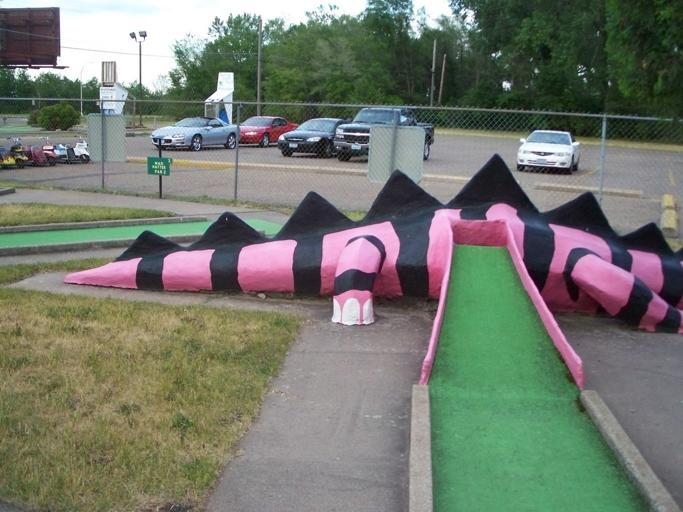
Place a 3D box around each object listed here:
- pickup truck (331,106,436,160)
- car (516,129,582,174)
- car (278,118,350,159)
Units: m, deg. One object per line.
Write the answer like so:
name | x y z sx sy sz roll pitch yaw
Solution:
pickup truck | 0.784 -4.220 22.352 2.400 2.102 4.405 5 12 27
car | 6.176 -3.186 20.080 1.470 1.353 2.713 7 9 40
car | -0.915 -4.224 23.991 1.116 0.995 2.779 3 11 20
